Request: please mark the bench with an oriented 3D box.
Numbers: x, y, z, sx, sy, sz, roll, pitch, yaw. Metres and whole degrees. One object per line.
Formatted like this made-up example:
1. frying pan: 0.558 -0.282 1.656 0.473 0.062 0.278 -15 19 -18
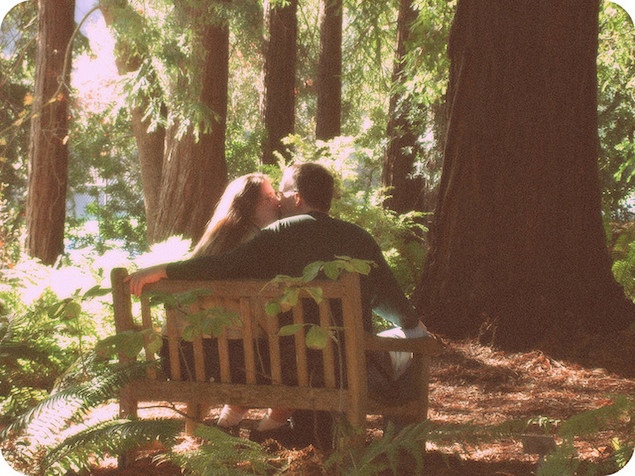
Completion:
1. bench: -0.310 1.034 5.029 2.206 1.521 1.120 -5 -12 35
